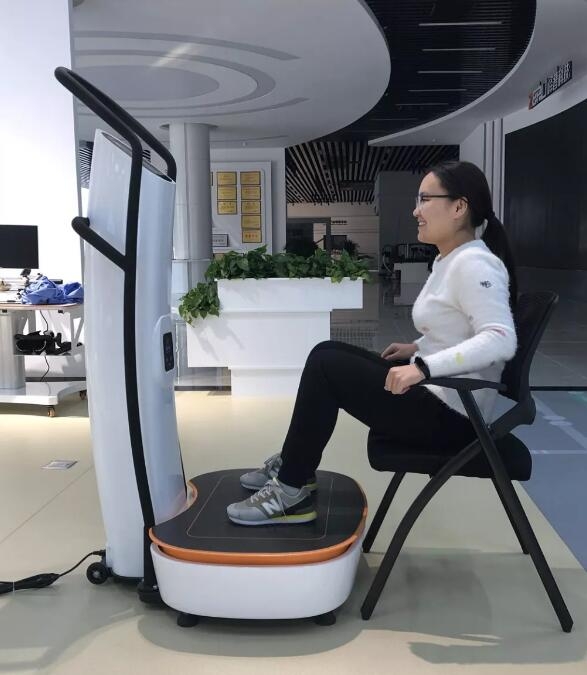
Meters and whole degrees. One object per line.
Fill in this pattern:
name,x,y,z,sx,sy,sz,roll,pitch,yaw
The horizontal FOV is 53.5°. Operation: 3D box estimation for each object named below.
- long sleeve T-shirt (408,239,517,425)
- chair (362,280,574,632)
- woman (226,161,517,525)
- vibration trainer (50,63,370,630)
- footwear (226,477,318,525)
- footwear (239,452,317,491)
long sleeve T-shirt,0.441,-0.012,1.519,0.257,0.493,0.411,0,9,11
chair,0.465,0.332,1.951,0.880,1.094,0.822,1,-1,5
woman,0.210,0.020,1.656,0.879,0.944,0.599,-2,3,14
vibration trainer,-0.129,0.059,1.739,1.013,1.319,0.929,4,3,-30
footwear,-0.047,0.439,1.581,0.266,0.103,0.100,1,2,-3
footwear,-0.041,0.392,1.713,0.290,0.103,0.095,-2,5,3
